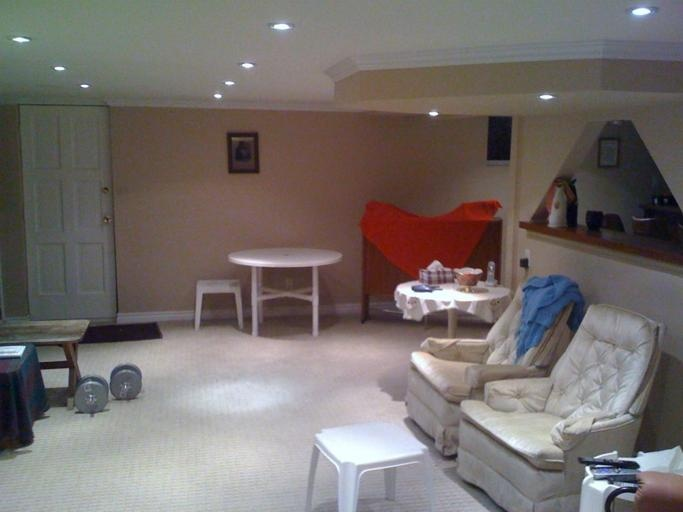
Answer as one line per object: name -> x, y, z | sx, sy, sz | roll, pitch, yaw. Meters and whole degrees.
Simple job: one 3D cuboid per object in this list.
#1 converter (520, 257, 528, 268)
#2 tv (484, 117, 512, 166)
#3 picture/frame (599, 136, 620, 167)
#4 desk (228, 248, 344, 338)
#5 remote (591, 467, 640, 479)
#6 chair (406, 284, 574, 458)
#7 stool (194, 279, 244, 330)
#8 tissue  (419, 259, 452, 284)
converter -> 1.661, 0.058, 4.740 | 0.063, 0.122, 0.121 | 0, 3, 1
tv -> 2.068, -1.486, 6.837 | 0.330, 0.659, 0.046 | 11, 24, 37
picture/frame -> 2.634, -1.024, 5.153 | 0.047, 0.292, 0.216 | -7, 14, -31
desk -> -0.666, 0.440, 6.335 | 1.267, 0.978, 1.300 | 7, 10, 39
remote -> 1.360, 1.067, 2.576 | 0.165, 0.046, 0.099 | -1, -1, 4
chair -> 1.124, 0.774, 4.027 | 1.198, 1.175, 1.125 | -2, 8, -40
stool -> -1.505, 0.544, 6.435 | 0.563, 0.576, 0.585 | 0, 1, -9
tissue  -> 0.883, 0.143, 4.884 | 0.225, 0.173, 0.233 | -1, 7, 2
